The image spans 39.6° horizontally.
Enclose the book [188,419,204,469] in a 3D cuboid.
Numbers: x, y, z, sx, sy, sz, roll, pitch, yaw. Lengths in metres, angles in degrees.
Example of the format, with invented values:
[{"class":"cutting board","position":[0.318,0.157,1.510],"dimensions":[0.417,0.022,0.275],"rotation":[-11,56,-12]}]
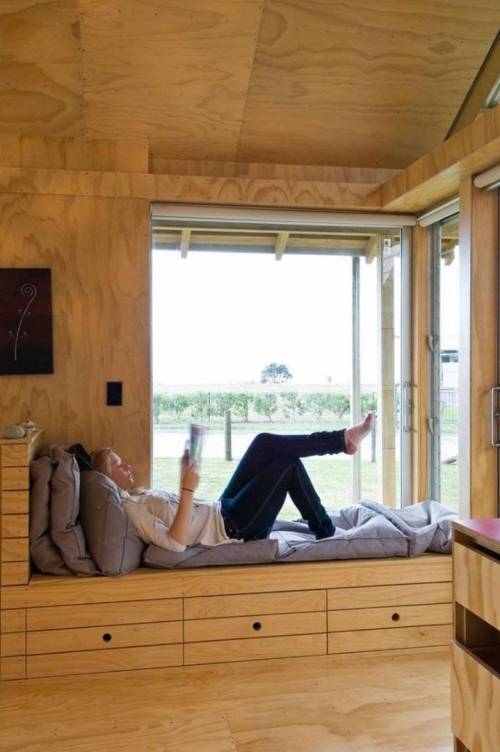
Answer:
[{"class":"book","position":[-0.200,0.263,2.632],"dimensions":[0.058,0.173,0.067],"rotation":[-1,2,-15]}]

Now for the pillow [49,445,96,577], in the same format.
[{"class":"pillow","position":[-0.698,0.519,2.671],"dimensions":[0.160,0.466,0.225],"rotation":[-2,3,-29]}]

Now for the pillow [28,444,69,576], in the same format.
[{"class":"pillow","position":[-0.773,0.529,2.601],"dimensions":[0.101,0.357,0.278],"rotation":[-1,-2,-7]}]

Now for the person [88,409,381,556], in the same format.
[{"class":"person","position":[-0.046,0.473,2.923],"dimensions":[1.121,0.454,0.537],"rotation":[-9,-3,-9]}]
